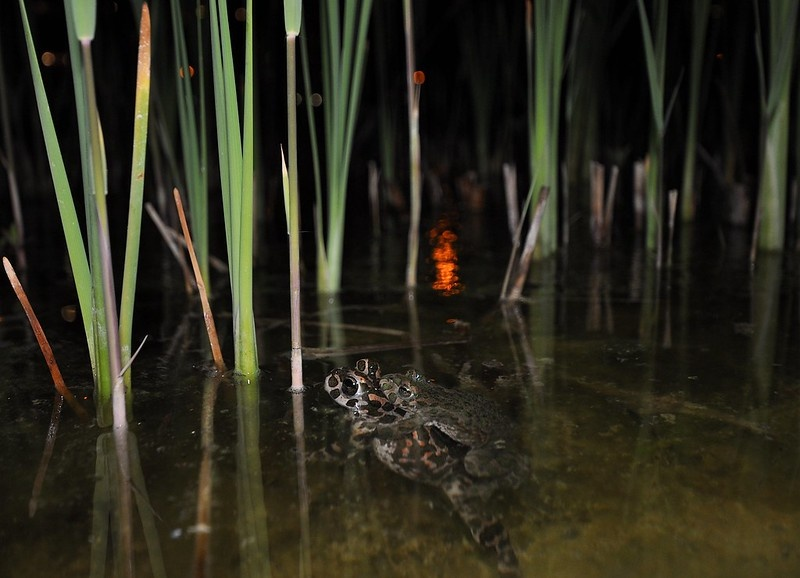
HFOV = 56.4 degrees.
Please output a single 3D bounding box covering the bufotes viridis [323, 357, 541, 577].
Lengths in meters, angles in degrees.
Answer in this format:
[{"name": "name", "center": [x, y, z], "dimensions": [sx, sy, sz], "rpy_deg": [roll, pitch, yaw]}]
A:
[{"name": "bufotes viridis", "center": [0.045, 0.308, 1.378], "dimensions": [0.317, 0.120, 0.241], "rpy_deg": [27, 35, 30]}]
